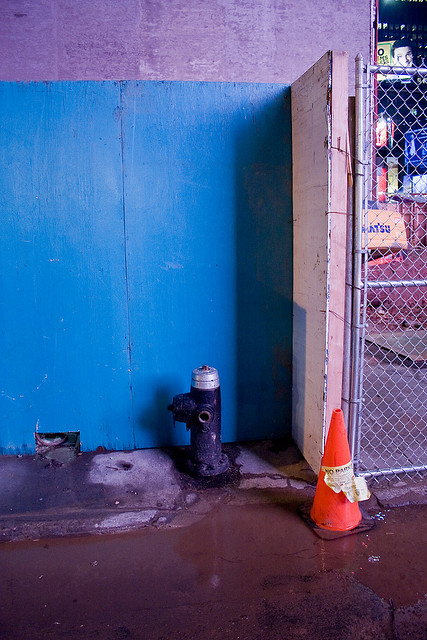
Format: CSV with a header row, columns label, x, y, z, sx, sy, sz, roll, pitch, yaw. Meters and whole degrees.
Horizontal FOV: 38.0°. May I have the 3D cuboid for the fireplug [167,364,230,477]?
label,x,y,z,sx,sy,sz,roll,pitch,yaw
fireplug,-0.082,0.635,3.986,0.405,0.704,0.362,-10,18,-34
